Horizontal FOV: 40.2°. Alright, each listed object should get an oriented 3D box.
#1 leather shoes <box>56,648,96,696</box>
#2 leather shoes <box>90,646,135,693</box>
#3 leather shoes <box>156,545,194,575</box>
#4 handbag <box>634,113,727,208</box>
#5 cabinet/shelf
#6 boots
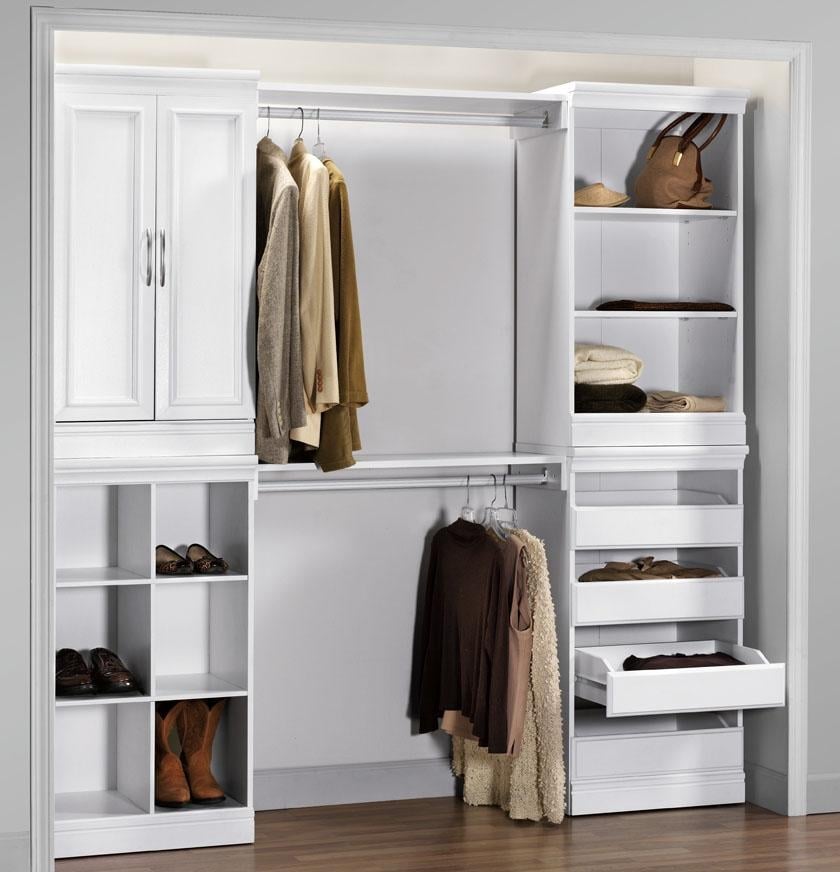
[{"bbox_3d":[-0.936,0.645,3.109,0.102,0.099,0.162,1,1,-17],"label":"leather shoes"},{"bbox_3d":[-0.845,0.645,3.135,0.066,0.067,0.176,0,6,-34],"label":"leather shoes"},{"bbox_3d":[-0.694,0.345,3.192,0.055,0.047,0.137,-1,9,-22],"label":"leather shoes"},{"bbox_3d":[0.817,-0.846,3.530,0.206,0.334,0.296,7,3,-24],"label":"handbag"},{"bbox_3d":[-0.032,0.123,3.314,2.401,2.242,0.807,-1,2,-20],"label":"cabinet/shelf"},{"bbox_3d":[-0.644,0.868,3.173,0.186,0.244,0.223,1,1,-23],"label":"boots"}]
